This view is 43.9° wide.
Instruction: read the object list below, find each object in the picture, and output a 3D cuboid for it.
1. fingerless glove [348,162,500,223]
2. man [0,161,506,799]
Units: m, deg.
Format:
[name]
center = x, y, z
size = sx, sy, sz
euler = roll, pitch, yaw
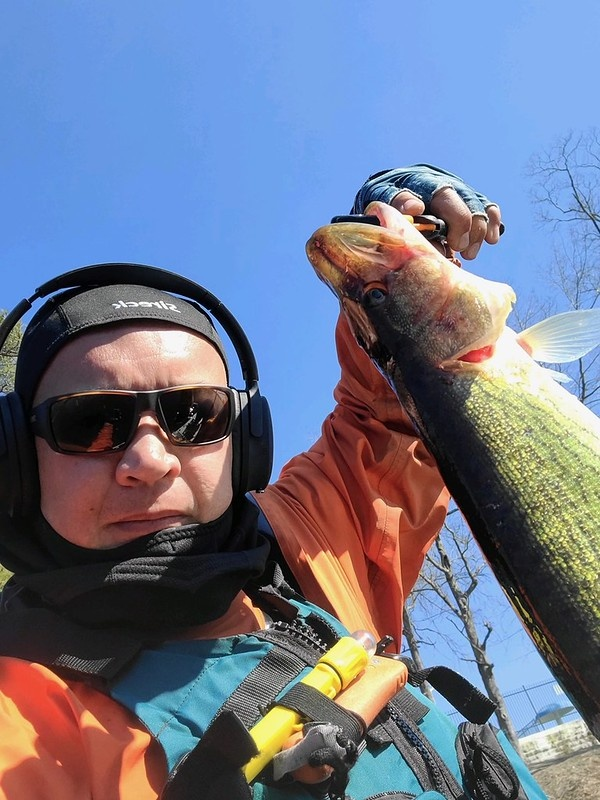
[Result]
[fingerless glove]
center = 0.467, -0.850, 3.100
size = 0.437, 0.610, 0.249
euler = -36, -47, -57
[man]
center = -0.406, 0.343, 2.575
size = 1.573, 0.817, 2.011
euler = -13, -57, -31
